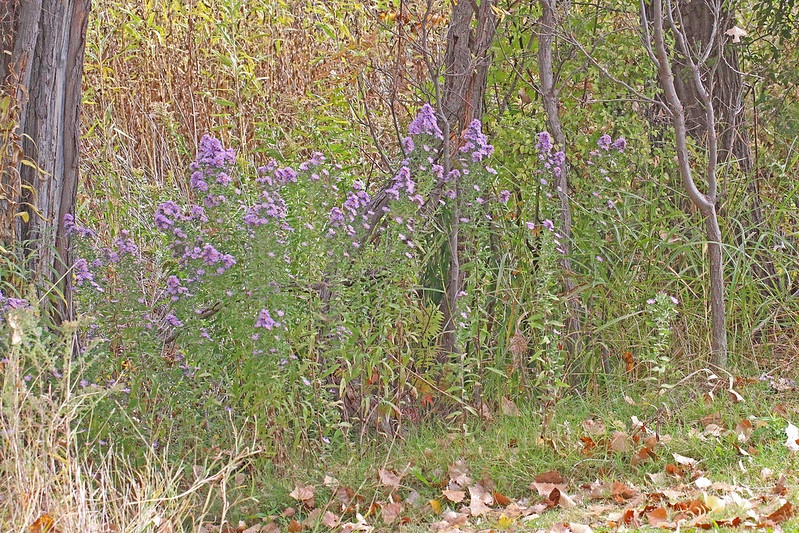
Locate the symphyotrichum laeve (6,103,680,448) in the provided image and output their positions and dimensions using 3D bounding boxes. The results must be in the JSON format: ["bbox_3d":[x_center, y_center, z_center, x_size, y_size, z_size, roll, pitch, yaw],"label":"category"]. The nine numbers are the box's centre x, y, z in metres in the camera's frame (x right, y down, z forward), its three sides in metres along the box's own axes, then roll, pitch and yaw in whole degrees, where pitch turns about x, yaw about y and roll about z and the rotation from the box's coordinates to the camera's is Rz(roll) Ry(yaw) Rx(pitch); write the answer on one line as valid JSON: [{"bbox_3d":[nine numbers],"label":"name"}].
[{"bbox_3d":[-0.544,0.372,7.333,3.572,1.729,2.381,-7,31,-8],"label":"symphyotrichum laeve"}]
